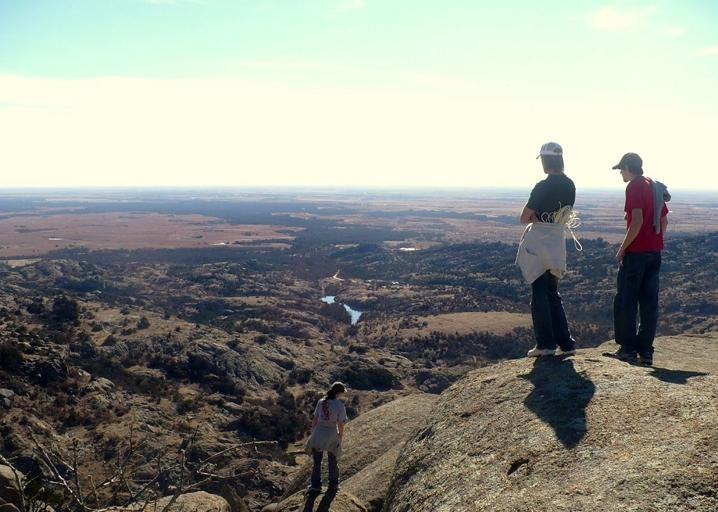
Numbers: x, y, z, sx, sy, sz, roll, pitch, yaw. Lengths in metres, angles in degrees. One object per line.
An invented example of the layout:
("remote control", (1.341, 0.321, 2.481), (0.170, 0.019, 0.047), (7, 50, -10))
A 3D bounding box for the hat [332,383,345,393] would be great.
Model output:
("hat", (-0.403, 2.499, 11.783), (0.203, 0.185, 0.240), (3, -6, -41))

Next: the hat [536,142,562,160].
("hat", (3.571, -1.981, 11.443), (0.357, 0.284, 0.339), (-10, -4, 9))
